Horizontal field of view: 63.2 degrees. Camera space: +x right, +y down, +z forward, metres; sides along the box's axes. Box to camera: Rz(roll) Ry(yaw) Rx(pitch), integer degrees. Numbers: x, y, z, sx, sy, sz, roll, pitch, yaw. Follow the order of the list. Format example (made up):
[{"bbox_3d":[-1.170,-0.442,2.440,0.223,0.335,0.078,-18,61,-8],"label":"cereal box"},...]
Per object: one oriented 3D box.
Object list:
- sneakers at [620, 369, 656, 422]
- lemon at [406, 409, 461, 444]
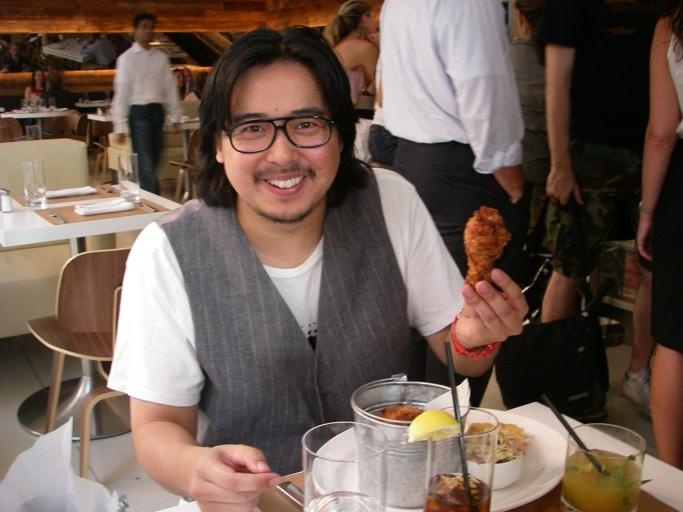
[{"bbox_3d":[1.320,0.626,2.562,0.118,0.183,0.184,0,20,0],"label":"sneakers"},{"bbox_3d":[0.146,0.250,0.849,0.051,0.035,0.057,-7,3,-10],"label":"lemon"}]
